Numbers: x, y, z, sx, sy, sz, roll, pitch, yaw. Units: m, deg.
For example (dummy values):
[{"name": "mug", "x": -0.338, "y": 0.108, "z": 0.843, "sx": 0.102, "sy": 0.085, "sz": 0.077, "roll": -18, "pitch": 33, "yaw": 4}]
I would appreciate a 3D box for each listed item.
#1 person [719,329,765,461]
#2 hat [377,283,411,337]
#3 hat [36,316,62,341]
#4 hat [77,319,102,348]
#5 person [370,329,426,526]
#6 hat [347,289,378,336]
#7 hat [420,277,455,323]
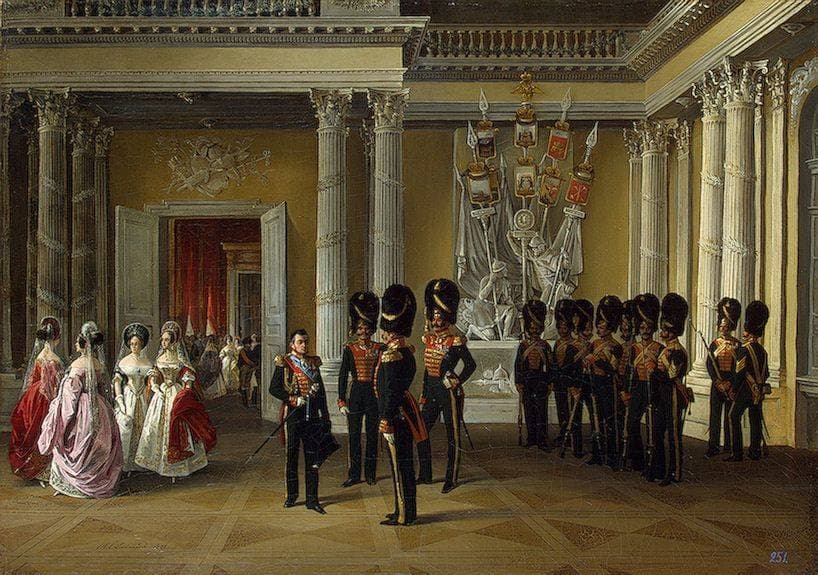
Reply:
[{"name": "person", "x": 3.686, "y": 1.203, "z": 14.278, "sx": 0.398, "sy": 1.381, "sz": 0.230, "roll": 0, "pitch": -1, "yaw": 15}, {"name": "hat", "x": -0.139, "y": 0.228, "z": 13.154, "sx": 0.326, "sy": 0.518, "sz": 0.136, "roll": 1, "pitch": -1, "yaw": -9}, {"name": "hat", "x": -3.999, "y": 0.484, "z": 14.427, "sx": 0.259, "sy": 0.259, "sz": 0.144, "roll": 14, "pitch": -38, "yaw": -1}, {"name": "hat", "x": -3.464, "y": 0.505, "z": 14.087, "sx": 0.133, "sy": 0.239, "sz": 0.291, "roll": 3, "pitch": 3, "yaw": 6}, {"name": "person", "x": -0.094, "y": 1.449, "z": 13.105, "sx": 0.394, "sy": 1.910, "sz": 0.370, "roll": 0, "pitch": -1, "yaw": 9}, {"name": "hat", "x": -0.495, "y": 0.241, "z": 13.415, "sx": 0.321, "sy": 0.377, "sz": 0.414, "roll": 3, "pitch": -15, "yaw": -4}, {"name": "hat", "x": 0.306, "y": 0.146, "z": 13.526, "sx": 0.335, "sy": 0.423, "sz": 0.443, "roll": 2, "pitch": -19, "yaw": 1}]
